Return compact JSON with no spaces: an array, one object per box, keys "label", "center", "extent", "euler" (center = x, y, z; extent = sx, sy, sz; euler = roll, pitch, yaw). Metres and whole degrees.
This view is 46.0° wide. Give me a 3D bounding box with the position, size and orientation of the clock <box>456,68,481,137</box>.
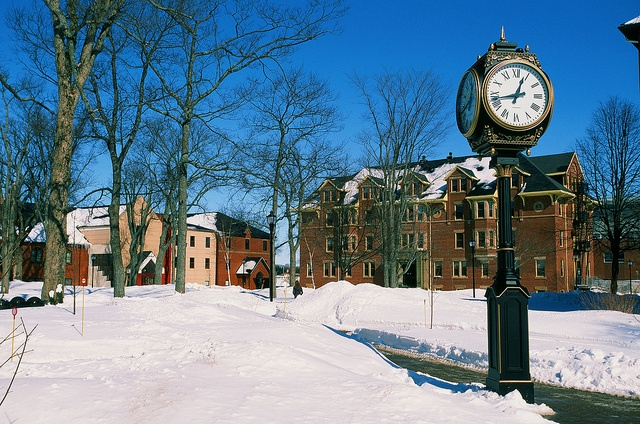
[{"label":"clock","center":[4.626,-3.478,23.711],"extent":[0.296,2.170,1.273],"euler":[2,8,-12]}]
